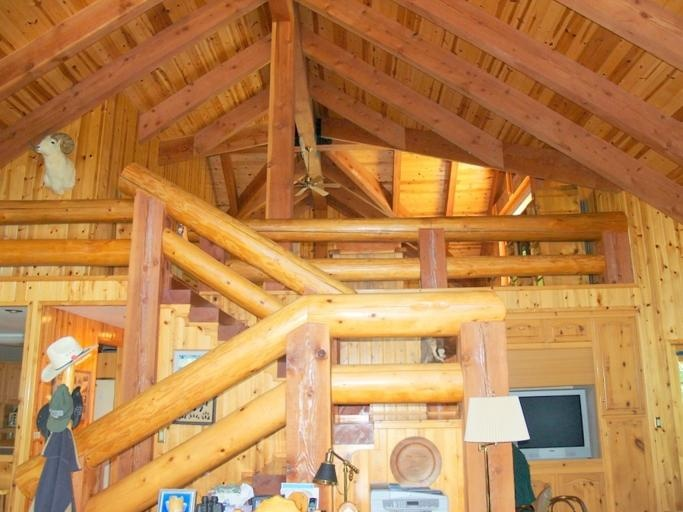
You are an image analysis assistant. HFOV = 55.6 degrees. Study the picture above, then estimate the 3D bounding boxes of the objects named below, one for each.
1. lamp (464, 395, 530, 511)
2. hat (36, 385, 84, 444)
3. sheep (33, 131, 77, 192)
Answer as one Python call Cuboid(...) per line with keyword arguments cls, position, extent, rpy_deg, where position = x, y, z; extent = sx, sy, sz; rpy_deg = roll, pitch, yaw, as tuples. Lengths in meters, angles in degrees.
Cuboid(cls="lamp", position=(1.113, 1.400, 4.666), extent=(0.443, 0.770, 0.436), rpy_deg=(-4, -20, 7))
Cuboid(cls="hat", position=(-2.149, 1.196, 4.943), extent=(0.309, 0.403, 0.267), rpy_deg=(6, -21, -19))
Cuboid(cls="sheep", position=(-2.932, -0.962, 6.625), extent=(0.405, 0.546, 0.490), rpy_deg=(7, -20, -23))
